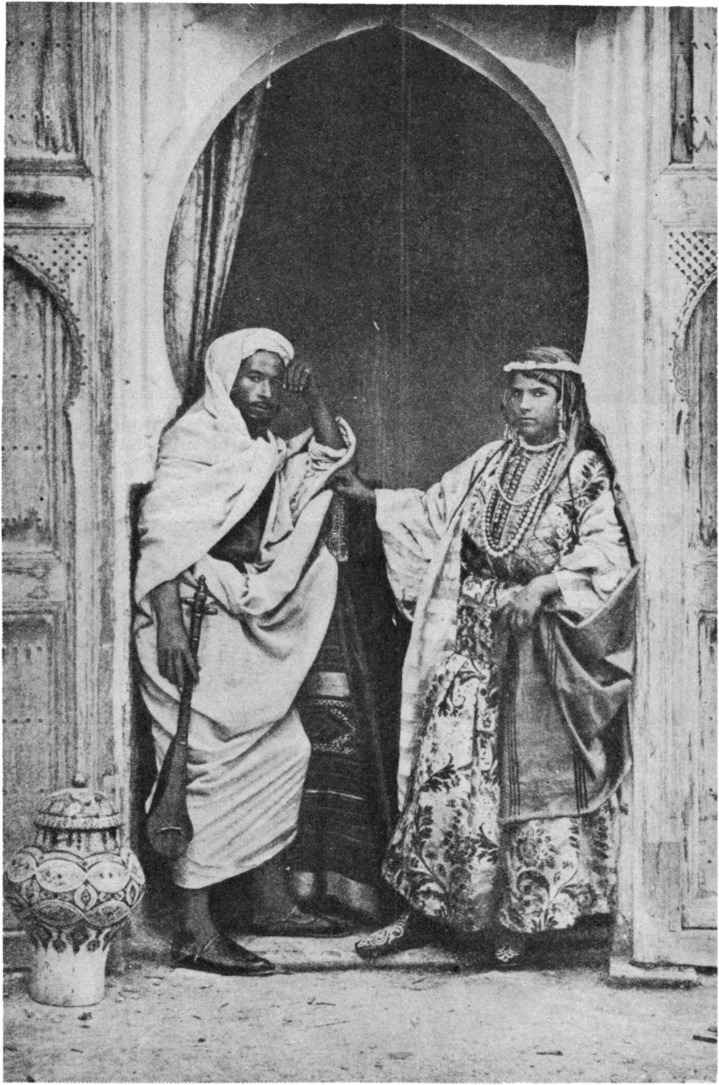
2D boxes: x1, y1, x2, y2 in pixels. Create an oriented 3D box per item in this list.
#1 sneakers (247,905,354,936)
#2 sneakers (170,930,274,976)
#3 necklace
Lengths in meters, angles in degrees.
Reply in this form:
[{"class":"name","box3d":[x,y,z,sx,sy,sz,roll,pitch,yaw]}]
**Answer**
[{"class":"sneakers","box3d":[-0.204,1.422,8.401,0.375,0.151,0.136,-2,-3,0]},{"class":"sneakers","box3d":[-0.509,1.530,8.367,0.339,0.134,0.156,6,-7,3]},{"class":"necklace","box3d":[0.625,-0.172,8.446,0.246,0.461,0.109,14,-17,24]}]
